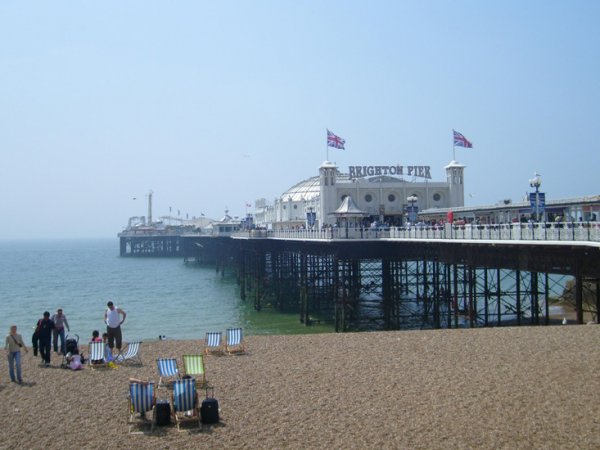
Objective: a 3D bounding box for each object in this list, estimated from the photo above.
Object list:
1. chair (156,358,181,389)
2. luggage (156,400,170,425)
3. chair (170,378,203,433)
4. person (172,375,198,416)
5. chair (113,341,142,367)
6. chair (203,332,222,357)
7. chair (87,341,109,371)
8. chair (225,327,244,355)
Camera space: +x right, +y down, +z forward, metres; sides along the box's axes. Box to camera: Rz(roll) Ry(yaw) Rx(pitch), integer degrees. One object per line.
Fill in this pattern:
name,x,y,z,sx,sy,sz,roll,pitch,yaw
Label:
chair,-5.266,5.946,34.880,0.662,1.082,0.680,-8,4,-17
luggage,-5.232,7.162,33.003,0.613,0.859,0.304,0,0,-9
chair,-4.444,6.767,33.285,0.984,1.991,1.861,-6,3,-13
person,-4.477,6.452,33.351,0.917,1.551,1.601,-5,8,-11
chair,-7.560,5.763,38.654,0.713,0.836,1.186,0,-11,7
chair,-4.052,5.434,40.150,0.812,1.200,1.134,2,5,-15
chair,-8.902,5.796,38.158,0.588,1.263,1.077,0,1,-4
chair,-3.076,5.660,40.611,0.682,0.964,1.310,0,-33,-10
